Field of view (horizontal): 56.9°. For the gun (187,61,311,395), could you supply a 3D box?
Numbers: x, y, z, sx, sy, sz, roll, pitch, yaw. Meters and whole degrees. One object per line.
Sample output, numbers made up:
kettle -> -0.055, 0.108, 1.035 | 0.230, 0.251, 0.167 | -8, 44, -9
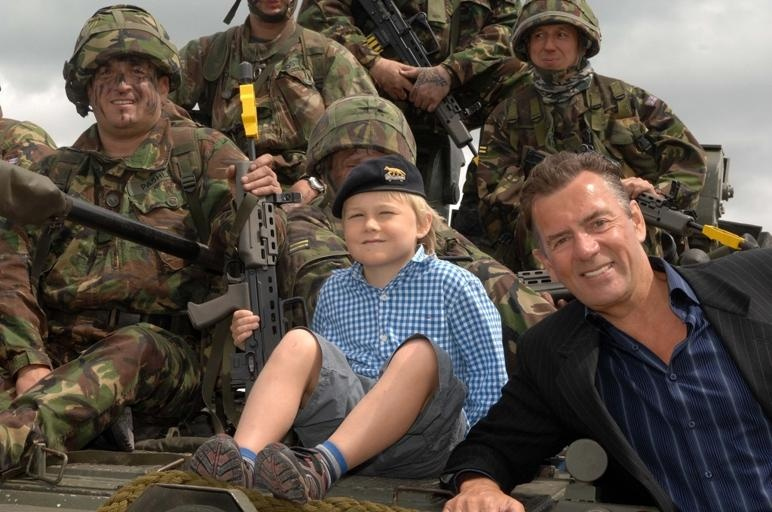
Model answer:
gun -> -0.923, -0.206, 4.915 | 0.681, 2.276, 0.646 | 5, -7, -28

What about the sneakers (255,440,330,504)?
sneakers -> -0.398, 0.948, 3.128 | 0.189, 0.168, 0.421 | 1, -10, 9

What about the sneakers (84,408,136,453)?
sneakers -> -1.835, 1.158, 4.759 | 0.297, 0.287, 0.307 | 4, -7, -23

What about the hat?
hat -> -0.023, -0.410, 4.198 | 0.435, 0.246, 0.313 | -4, -5, -31

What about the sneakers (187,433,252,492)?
sneakers -> -0.723, 0.845, 3.036 | 0.145, 0.306, 0.147 | -9, 5, 9
